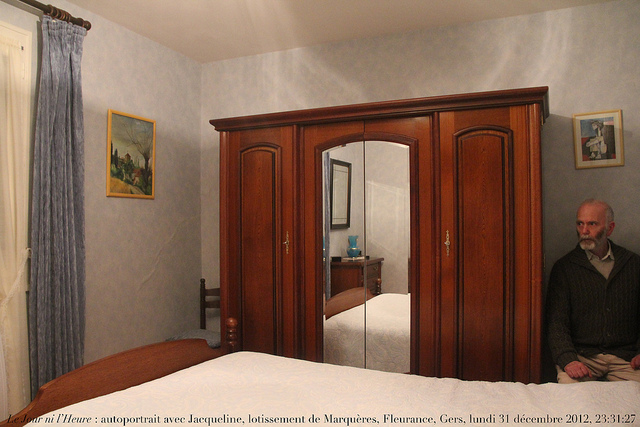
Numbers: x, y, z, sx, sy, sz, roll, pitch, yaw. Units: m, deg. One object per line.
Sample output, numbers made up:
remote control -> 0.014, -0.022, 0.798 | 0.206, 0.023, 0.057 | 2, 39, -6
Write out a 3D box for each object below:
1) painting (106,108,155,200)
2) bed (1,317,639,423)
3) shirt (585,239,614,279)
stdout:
painting -> -1.784, -0.548, 4.461 | 0.136, 0.827, 0.587 | 4, 10, 26
bed -> -0.022, 1.013, 2.729 | 3.248, 0.237, 0.955 | 2, 9, 10
shirt -> 2.154, 0.346, 3.662 | 0.169, 0.238, 0.171 | -7, -27, 22
